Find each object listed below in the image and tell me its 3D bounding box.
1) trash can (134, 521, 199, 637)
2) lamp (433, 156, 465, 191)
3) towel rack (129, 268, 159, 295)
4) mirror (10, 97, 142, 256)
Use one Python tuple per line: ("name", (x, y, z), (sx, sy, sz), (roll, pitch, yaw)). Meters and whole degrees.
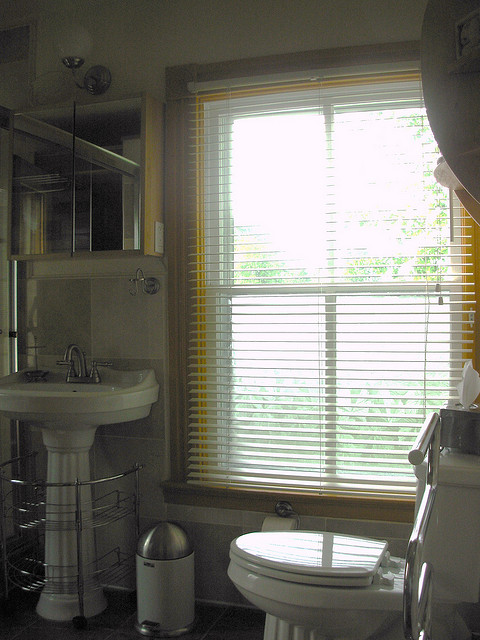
("trash can", (-0.223, 0.836, 2.087), (0.256, 0.397, 0.291), (0, -4, 1))
("lamp", (0.509, -0.334, 1.580), (0.055, 0.071, 0.495), (-2, 2, 17))
("towel rack", (-0.336, -0.136, 2.266), (0.087, 0.122, 0.097), (2, 7, 34))
("mirror", (-0.535, -0.493, 2.172), (0.544, 0.585, 0.031), (0, -2, 17))
